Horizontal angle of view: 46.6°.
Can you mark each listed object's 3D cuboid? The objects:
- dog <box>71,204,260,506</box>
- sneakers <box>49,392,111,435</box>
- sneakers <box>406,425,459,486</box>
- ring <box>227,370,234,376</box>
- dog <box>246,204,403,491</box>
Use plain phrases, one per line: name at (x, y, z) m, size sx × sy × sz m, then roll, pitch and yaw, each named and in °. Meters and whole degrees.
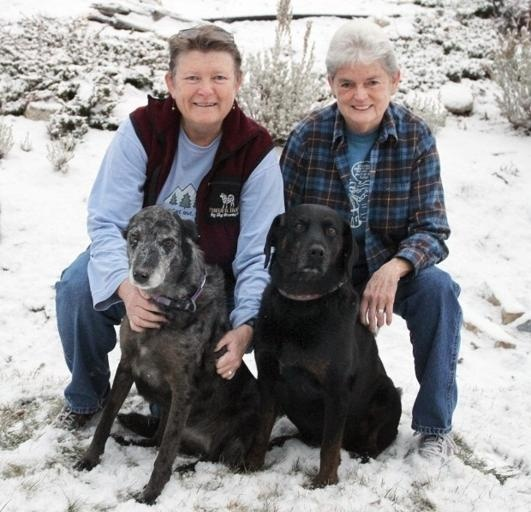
dog at (-0.524, 0.521, 3.673) m, size 1.118 × 1.597 × 0.682 m, roll -11°, pitch 20°, yaw -38°
sneakers at (-1.257, 1.047, 4.084) m, size 0.121 × 0.166 × 0.368 m, roll 19°, pitch 20°, yaw 17°
sneakers at (1.105, 1.235, 4.043) m, size 0.155 × 0.192 × 0.438 m, roll 10°, pitch 2°, yaw 23°
ring at (-0.216, 0.711, 3.718) m, size 0.034 × 0.038 × 0.038 m, roll -18°, pitch 55°, yaw 19°
dog at (0.372, 0.528, 3.777) m, size 0.876 × 1.602 × 0.825 m, roll 6°, pitch 16°, yaw 11°
